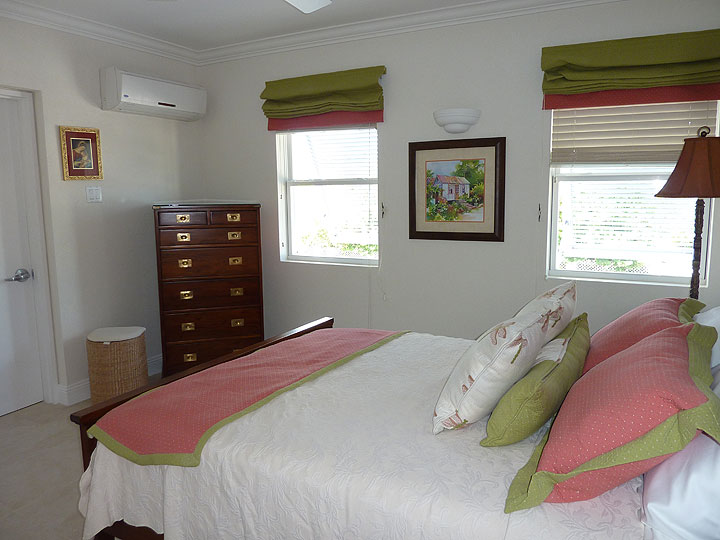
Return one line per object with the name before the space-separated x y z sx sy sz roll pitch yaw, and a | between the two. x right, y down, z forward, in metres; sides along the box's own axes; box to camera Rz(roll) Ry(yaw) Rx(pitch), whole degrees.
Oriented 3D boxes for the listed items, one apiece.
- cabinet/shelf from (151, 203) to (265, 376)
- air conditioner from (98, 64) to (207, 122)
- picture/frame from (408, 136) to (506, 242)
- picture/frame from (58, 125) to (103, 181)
cabinet/shelf | -1.374 0.109 4.792 0.902 1.601 0.573 -3 21 -19
air conditioner | -1.803 -1.545 4.639 0.267 0.342 0.884 13 13 32
picture/frame | 0.813 -0.673 4.173 0.820 0.880 0.069 1 4 23
picture/frame | -2.264 -0.948 4.193 0.037 0.520 0.440 3 7 28
